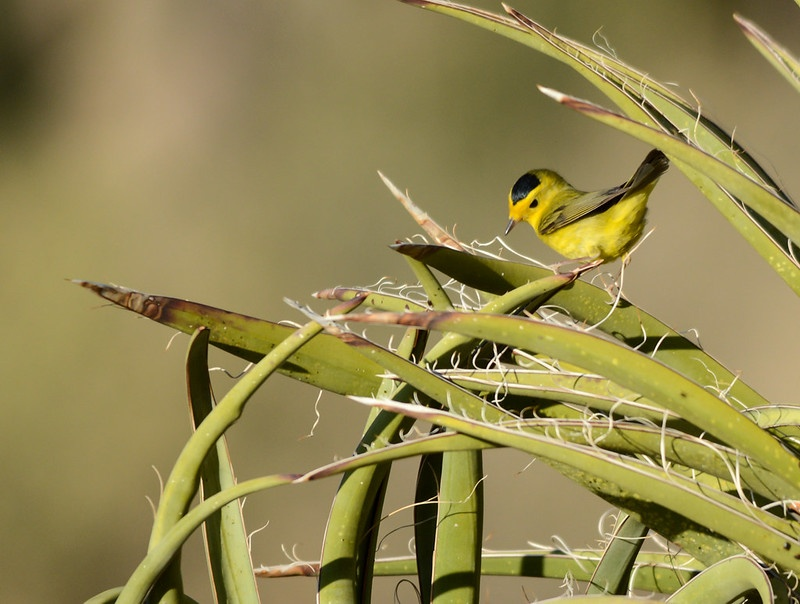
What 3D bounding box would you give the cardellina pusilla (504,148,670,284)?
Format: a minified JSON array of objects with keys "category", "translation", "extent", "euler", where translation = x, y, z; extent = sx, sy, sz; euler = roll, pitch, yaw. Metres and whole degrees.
[{"category":"cardellina pusilla","translation":[0.274,-0.125,1.640],"extent":[0.243,0.183,0.090],"euler":[-13,-17,40]}]
